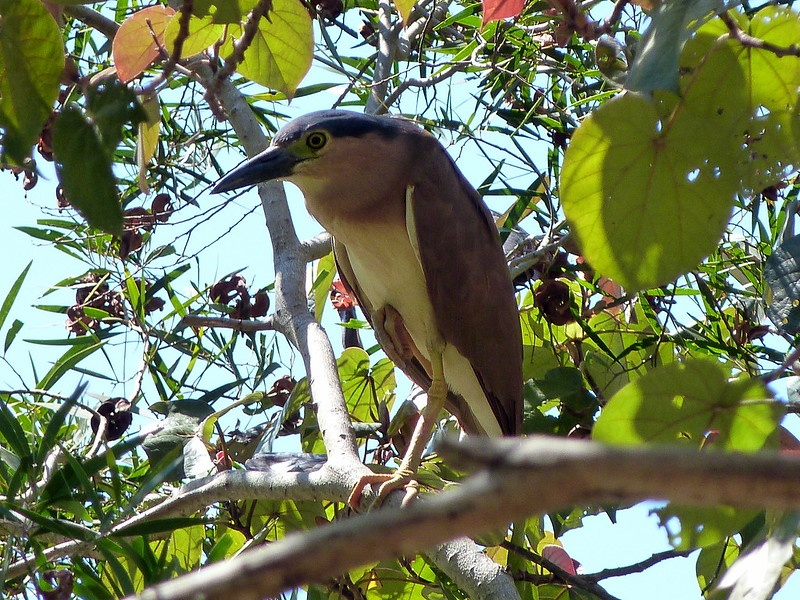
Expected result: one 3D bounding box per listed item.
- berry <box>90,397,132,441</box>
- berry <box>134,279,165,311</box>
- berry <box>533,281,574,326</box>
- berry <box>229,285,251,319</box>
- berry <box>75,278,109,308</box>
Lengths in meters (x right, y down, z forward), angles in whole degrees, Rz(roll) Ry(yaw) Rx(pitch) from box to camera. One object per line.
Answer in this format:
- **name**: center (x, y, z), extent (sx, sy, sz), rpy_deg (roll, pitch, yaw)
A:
- **berry**: center (-0.704, 0.297, 2.605), extent (0.082, 0.130, 0.131), rpy_deg (3, -43, -11)
- **berry**: center (-0.650, -0.011, 2.748), extent (0.031, 0.045, 0.105), rpy_deg (-15, -33, 8)
- **berry**: center (0.377, -0.003, 2.622), extent (0.080, 0.112, 0.048), rpy_deg (-27, -15, 12)
- **berry**: center (-0.398, 0.008, 2.646), extent (0.047, 0.086, 0.068), rpy_deg (3, -58, 5)
- **berry**: center (-0.828, -0.018, 2.862), extent (0.065, 0.050, 0.026), rpy_deg (-34, -60, -26)
